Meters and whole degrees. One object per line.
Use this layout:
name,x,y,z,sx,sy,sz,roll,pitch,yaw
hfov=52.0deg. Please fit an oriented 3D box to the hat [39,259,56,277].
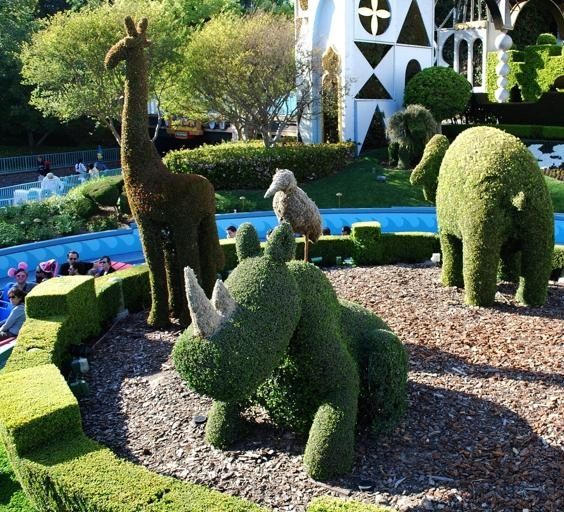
hat,-4.402,0.203,10.884,0.279,0.209,0.391,6,-2,-8
